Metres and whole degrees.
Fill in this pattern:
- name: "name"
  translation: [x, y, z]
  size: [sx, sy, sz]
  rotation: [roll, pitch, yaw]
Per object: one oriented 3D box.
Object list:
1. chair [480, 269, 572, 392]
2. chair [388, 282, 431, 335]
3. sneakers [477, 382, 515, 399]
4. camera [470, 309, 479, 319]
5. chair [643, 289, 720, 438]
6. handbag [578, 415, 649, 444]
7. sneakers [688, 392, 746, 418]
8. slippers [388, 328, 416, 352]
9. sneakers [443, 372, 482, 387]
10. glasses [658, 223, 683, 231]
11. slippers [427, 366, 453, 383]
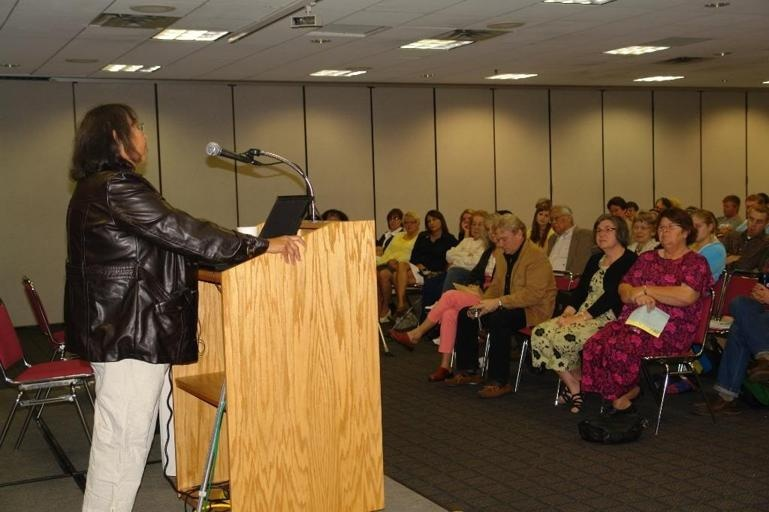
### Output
- name: "chair"
  translation: [1.482, 0.853, 6.110]
  size: [0.677, 0.868, 0.650]
  rotation: [-3, -10, 9]
- name: "chair"
  translation: [0.458, 0.712, 8.603]
  size: [0.639, 0.848, 0.531]
  rotation: [11, 12, 36]
- name: "sneakers"
  translation: [1.100, 1.311, 5.850]
  size: [0.330, 0.128, 0.134]
  rotation: [2, -6, -15]
- name: "camera"
  translation: [0.898, 0.576, 5.930]
  size: [0.119, 0.112, 0.089]
  rotation: [0, -6, 5]
- name: "chair"
  translation: [2.599, 0.850, 5.251]
  size: [0.763, 1.030, 0.747]
  rotation: [-4, -1, -17]
- name: "handbag"
  translation: [1.858, 1.419, 4.829]
  size: [0.339, 0.117, 0.258]
  rotation: [-1, -5, -5]
- name: "sneakers"
  translation: [2.977, 1.308, 5.264]
  size: [0.476, 0.196, 0.202]
  rotation: [2, -6, -5]
- name: "slippers"
  translation: [0.239, 0.988, 6.822]
  size: [0.374, 0.164, 0.179]
  rotation: [38, 5, -15]
- name: "sneakers"
  translation: [0.830, 1.273, 6.159]
  size: [0.352, 0.126, 0.138]
  rotation: [3, -9, -5]
- name: "glasses"
  translation: [2.443, -0.249, 5.059]
  size: [0.178, 0.066, 0.067]
  rotation: [1, 8, 21]
- name: "slippers"
  translation: [0.618, 1.266, 6.362]
  size: [0.121, 0.105, 0.272]
  rotation: [-7, -9, 41]
